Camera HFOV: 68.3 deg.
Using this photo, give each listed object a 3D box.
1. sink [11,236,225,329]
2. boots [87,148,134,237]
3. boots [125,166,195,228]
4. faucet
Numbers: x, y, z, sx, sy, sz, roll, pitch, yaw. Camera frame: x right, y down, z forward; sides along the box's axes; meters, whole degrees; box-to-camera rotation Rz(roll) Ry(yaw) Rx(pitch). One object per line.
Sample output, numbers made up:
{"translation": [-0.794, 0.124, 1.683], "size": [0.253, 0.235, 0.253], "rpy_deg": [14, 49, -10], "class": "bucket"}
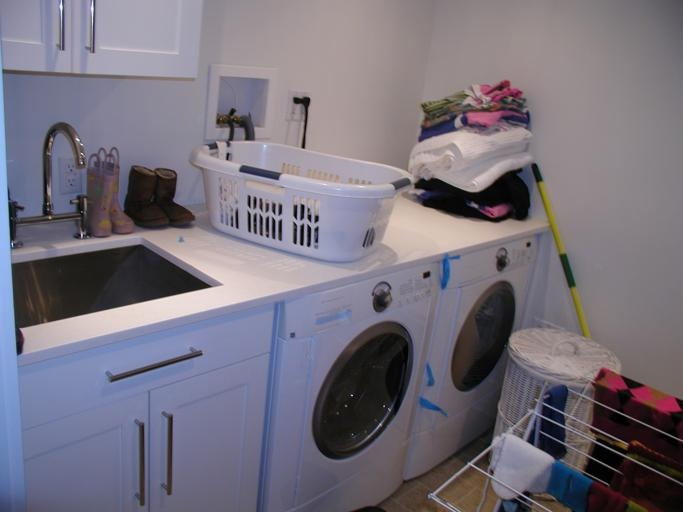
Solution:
{"translation": [-0.796, 0.110, 1.615], "size": [0.348, 0.227, 0.339], "rpy_deg": [27, 19, 28], "class": "sink"}
{"translation": [-0.803, -0.211, 1.735], "size": [0.142, 0.269, 0.135], "rpy_deg": [1, 16, -8], "class": "boots"}
{"translation": [-0.678, -0.240, 1.924], "size": [0.247, 0.254, 0.207], "rpy_deg": [20, 20, 25], "class": "boots"}
{"translation": [-0.891, -0.261, 1.601], "size": [0.125, 0.328, 0.443], "rpy_deg": [-5, 19, -29], "class": "faucet"}
